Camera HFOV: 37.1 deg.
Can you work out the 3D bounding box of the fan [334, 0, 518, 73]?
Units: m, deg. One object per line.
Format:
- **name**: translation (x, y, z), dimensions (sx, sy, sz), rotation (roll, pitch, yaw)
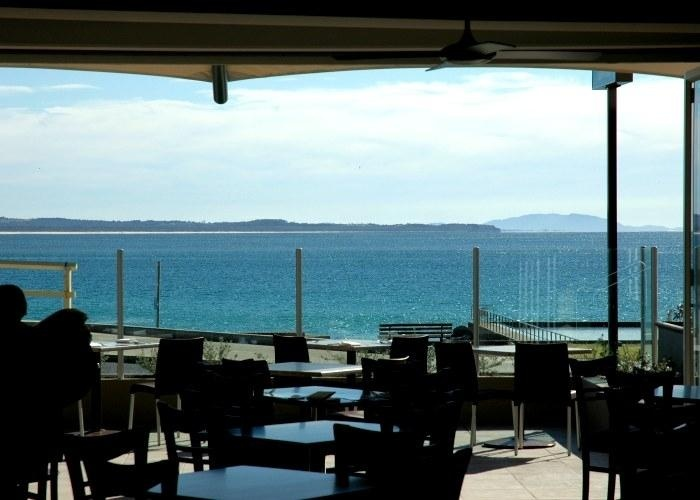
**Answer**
- **fan**: translation (0.824, -2.081, 10.489), dimensions (1.547, 0.528, 1.114), rotation (-4, -5, 37)
